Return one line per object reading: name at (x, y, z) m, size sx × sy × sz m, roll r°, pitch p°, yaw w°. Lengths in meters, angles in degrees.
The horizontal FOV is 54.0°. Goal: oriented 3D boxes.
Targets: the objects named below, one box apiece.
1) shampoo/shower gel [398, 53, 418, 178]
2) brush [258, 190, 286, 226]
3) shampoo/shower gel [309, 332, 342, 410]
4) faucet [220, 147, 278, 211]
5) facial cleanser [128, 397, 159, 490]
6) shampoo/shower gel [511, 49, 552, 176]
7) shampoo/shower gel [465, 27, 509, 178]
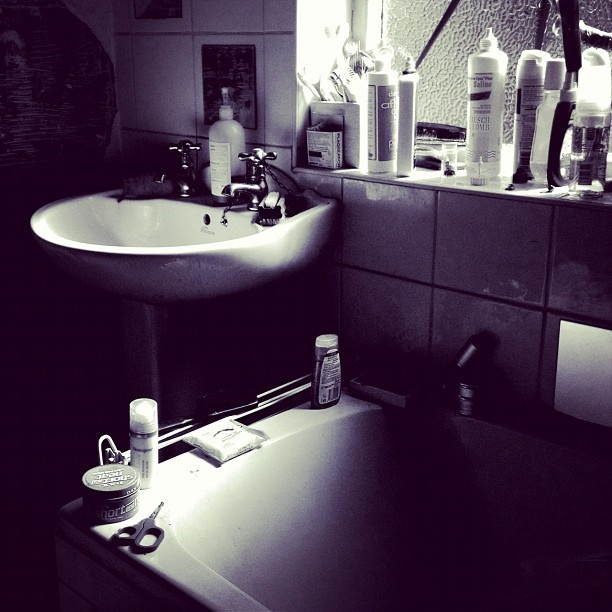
shampoo/shower gel at (0.205, -0.384, 1.233) m, size 0.049 × 0.231 × 0.084 m, roll -2°, pitch 14°, yaw 10°
brush at (-0.076, -0.206, 1.279) m, size 0.065 × 0.064 × 0.070 m, roll -5°, pitch 14°, yaw -3°
shampoo/shower gel at (0.040, 0.129, 1.193) m, size 0.062 × 0.130 × 0.079 m, roll 2°, pitch 13°, yaw 5°
faucet at (-0.128, -0.277, 1.327) m, size 0.092 × 0.130 × 0.134 m, roll 15°, pitch 26°, yaw 31°
facial cleanser at (-0.261, 0.212, 0.966) m, size 0.048 × 0.138 × 0.069 m, roll -7°, pitch 15°, yaw -34°
shampoo/shower gel at (0.419, -0.351, 1.117) m, size 0.056 × 0.224 × 0.054 m, roll 5°, pitch 22°, yaw 37°
shampoo/shower gel at (0.333, -0.368, 1.130) m, size 0.093 × 0.275 × 0.090 m, roll 9°, pitch 22°, yaw 22°
